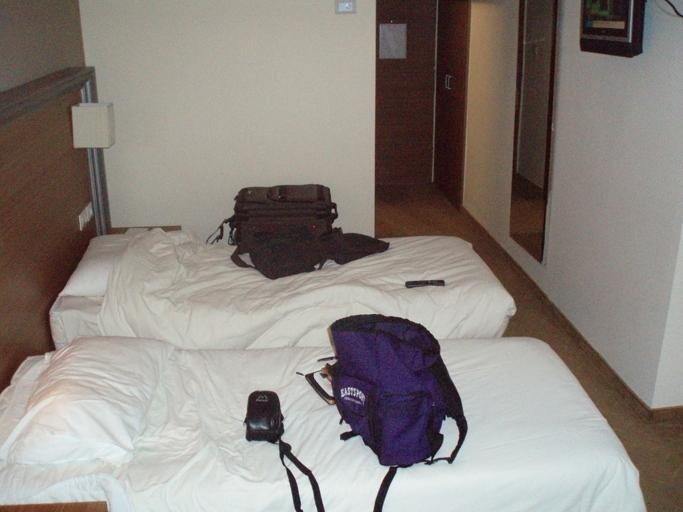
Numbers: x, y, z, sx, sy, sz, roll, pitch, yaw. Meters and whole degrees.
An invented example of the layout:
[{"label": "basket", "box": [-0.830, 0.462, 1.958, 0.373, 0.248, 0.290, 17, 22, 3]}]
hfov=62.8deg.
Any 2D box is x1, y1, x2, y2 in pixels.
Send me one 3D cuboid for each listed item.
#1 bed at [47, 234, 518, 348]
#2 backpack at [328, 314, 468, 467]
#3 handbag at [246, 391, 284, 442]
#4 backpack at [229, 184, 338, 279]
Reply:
[{"label": "bed", "box": [-0.444, 0.214, 3.406, 1.792, 0.458, 1.163, -3, 28, -2]}, {"label": "backpack", "box": [0.218, 0.546, 2.412, 0.436, 0.632, 0.260, -11, -18, 16]}, {"label": "handbag", "box": [-0.297, 0.674, 2.429, 0.139, 0.191, 0.206, 2, 42, 4]}, {"label": "backpack", "box": [-0.432, -0.177, 4.013, 0.657, 0.248, 0.699, 2, 55, -5]}]
